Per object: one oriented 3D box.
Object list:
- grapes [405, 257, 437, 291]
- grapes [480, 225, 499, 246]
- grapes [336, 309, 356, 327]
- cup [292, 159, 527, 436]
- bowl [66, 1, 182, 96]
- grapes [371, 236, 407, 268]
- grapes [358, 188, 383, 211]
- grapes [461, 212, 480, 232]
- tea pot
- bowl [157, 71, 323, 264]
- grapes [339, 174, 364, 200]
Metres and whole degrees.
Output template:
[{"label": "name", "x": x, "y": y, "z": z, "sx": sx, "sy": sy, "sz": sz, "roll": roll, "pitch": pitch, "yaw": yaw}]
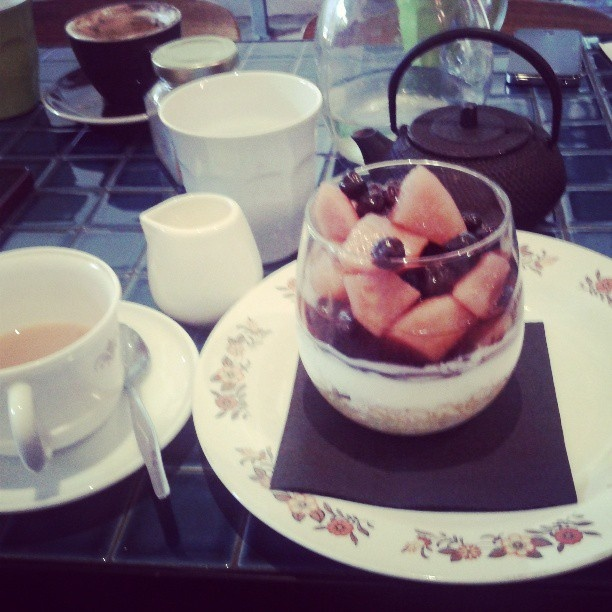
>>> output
[{"label": "grapes", "x": 0.059, "y": -0.016, "z": 0.306, "sx": 0.014, "sy": 0.014, "sz": 0.014, "roll": -1, "pitch": 47, "yaw": 9}, {"label": "grapes", "x": 0.100, "y": -0.040, "z": 0.330, "sx": 0.009, "sy": 0.009, "sz": 0.011, "roll": 12, "pitch": 50, "yaw": 23}, {"label": "grapes", "x": 0.023, "y": 0.007, "z": 0.326, "sx": 0.008, "sy": 0.006, "sz": 0.009, "roll": -3, "pitch": 47, "yaw": -4}, {"label": "cup", "x": 0.059, "y": -0.009, "z": 0.418, "sx": 0.161, "sy": 0.146, "sz": 0.156, "roll": 2, "pitch": 41, "yaw": -2}, {"label": "bowl", "x": -0.231, "y": -0.347, "z": 0.828, "sx": 0.116, "sy": 0.157, "sz": 0.123, "roll": 0, "pitch": 30, "yaw": 0}, {"label": "grapes", "x": 0.042, "y": -0.027, "z": 0.306, "sx": 0.017, "sy": 0.011, "sz": 0.014, "roll": 2, "pitch": 39, "yaw": 5}, {"label": "grapes", "x": 0.039, "y": -0.062, "z": 0.357, "sx": 0.013, "sy": 0.013, "sz": 0.013, "roll": 0, "pitch": 45, "yaw": 3}, {"label": "grapes", "x": 0.093, "y": -0.048, "z": 0.341, "sx": 0.010, "sy": 0.008, "sz": 0.011, "roll": -3, "pitch": 49, "yaw": 0}, {"label": "tea pot", "x": 0.155, "y": -0.162, "z": 0.601, "sx": 0.183, "sy": 0.180, "sz": 0.197, "roll": 0, "pitch": 33, "yaw": 0}, {"label": "bowl", "x": -0.039, "y": -0.143, "z": 0.670, "sx": 0.222, "sy": 0.181, "sz": 0.211, "roll": -1, "pitch": 37, "yaw": 1}, {"label": "grapes", "x": 0.029, "y": -0.073, "z": 0.363, "sx": 0.015, "sy": 0.006, "sz": 0.016, "roll": -3, "pitch": 66, "yaw": 2}]
